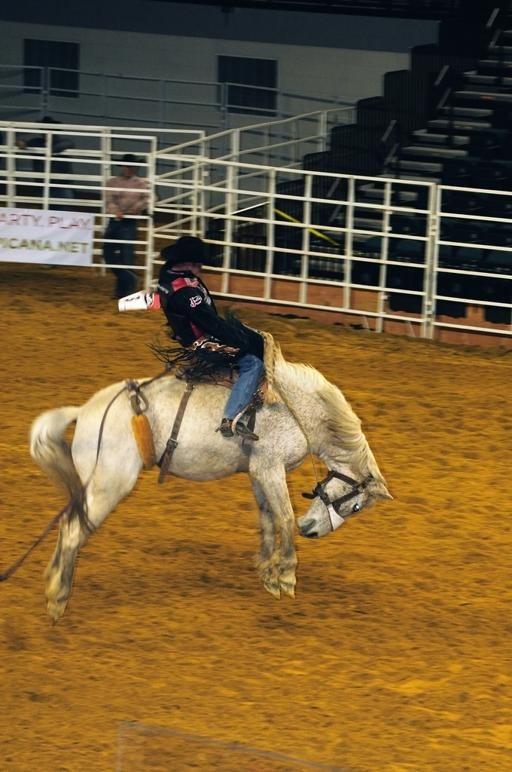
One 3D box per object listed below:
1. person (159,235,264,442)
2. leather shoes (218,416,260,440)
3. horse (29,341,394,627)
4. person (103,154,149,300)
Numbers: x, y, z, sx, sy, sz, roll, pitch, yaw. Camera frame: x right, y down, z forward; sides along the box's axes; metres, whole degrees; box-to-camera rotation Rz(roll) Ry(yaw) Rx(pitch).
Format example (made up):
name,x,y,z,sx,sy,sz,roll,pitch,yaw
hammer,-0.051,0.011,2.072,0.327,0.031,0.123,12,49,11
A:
name,x,y,z,sx,sy,sz,roll,pitch,yaw
person,-0.232,-0.242,4.150,0.583,0.994,0.394,5,11,8
leather shoes,-0.090,0.201,4.058,0.261,0.160,0.082,2,-6,-7
horse,-0.218,0.482,4.308,2.058,1.222,0.478,2,-9,-26
person,-1.867,-2.322,11.964,0.610,2.061,1.076,2,11,-9
